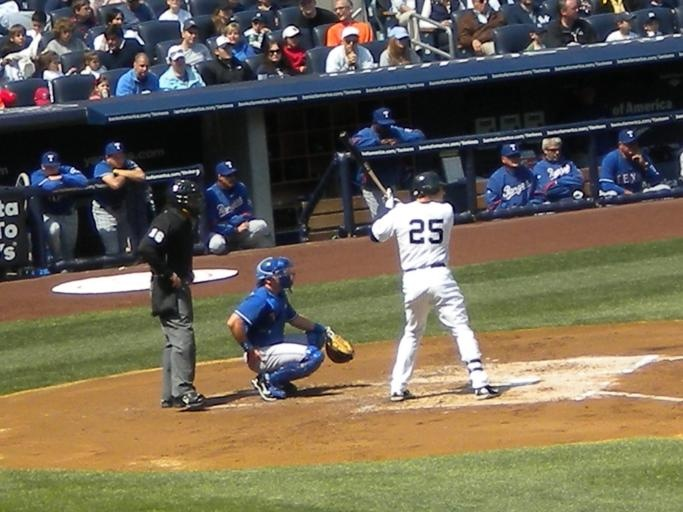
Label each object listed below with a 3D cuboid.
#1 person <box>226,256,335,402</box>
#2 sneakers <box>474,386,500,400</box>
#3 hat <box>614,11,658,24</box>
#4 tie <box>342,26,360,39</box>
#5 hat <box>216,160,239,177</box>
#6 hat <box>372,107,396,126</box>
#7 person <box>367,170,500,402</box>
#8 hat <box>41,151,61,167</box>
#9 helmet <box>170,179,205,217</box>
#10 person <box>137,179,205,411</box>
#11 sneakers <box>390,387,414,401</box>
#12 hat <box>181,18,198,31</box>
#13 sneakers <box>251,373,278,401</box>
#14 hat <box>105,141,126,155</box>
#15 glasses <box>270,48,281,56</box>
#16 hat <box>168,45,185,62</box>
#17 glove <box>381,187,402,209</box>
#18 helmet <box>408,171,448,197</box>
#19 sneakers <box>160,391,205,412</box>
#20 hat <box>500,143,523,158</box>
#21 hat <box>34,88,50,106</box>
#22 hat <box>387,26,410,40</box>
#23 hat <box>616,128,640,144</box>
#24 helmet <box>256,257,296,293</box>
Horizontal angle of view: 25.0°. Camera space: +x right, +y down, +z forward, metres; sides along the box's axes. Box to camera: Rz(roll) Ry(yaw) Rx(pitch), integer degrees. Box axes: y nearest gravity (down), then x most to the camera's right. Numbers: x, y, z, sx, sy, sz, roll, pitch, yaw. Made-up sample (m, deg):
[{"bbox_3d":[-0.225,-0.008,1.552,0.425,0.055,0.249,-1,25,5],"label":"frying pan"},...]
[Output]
[{"bbox_3d":[-0.727,0.820,17.328,1.179,1.616,0.490,-5,4,-13],"label":"person"},{"bbox_3d":[1.540,1.476,16.717,0.226,0.103,0.171,2,-3,-41],"label":"sneakers"},{"bbox_3d":[4.615,-3.849,24.921,0.587,0.158,0.348,-4,-1,41],"label":"hat"},{"bbox_3d":[0.090,-3.392,23.347,0.211,0.121,0.254,-2,10,-1],"label":"tie"},{"bbox_3d":[-1.685,-1.252,21.941,0.328,0.174,0.219,-1,11,22],"label":"hat"},{"bbox_3d":[0.560,-2.059,22.563,0.242,0.181,0.354,-5,15,-31],"label":"hat"},{"bbox_3d":[0.930,0.333,16.744,1.161,2.478,0.421,-4,4,3],"label":"person"},{"bbox_3d":[-4.101,-1.364,21.737,0.189,0.138,0.260,-1,5,-18],"label":"hat"},{"bbox_3d":[-1.741,-0.651,17.190,0.436,0.379,0.353,-3,9,-19],"label":"helmet"},{"bbox_3d":[-1.849,0.433,17.267,0.702,2.557,0.562,-5,4,-2],"label":"person"},{"bbox_3d":[0.621,1.513,16.902,0.186,0.077,0.233,-2,0,5],"label":"sneakers"},{"bbox_3d":[-2.318,-3.518,23.487,0.212,0.184,0.298,7,-10,-17],"label":"hat"},{"bbox_3d":[-0.906,1.487,17.563,0.216,0.332,0.154,-42,1,-7],"label":"sneakers"},{"bbox_3d":[-3.224,-1.504,21.707,0.269,0.134,0.201,-6,6,44],"label":"hat"},{"bbox_3d":[-1.045,-3.087,23.375,0.117,0.111,0.040,0,50,-2],"label":"glasses"},{"bbox_3d":[-2.433,-3.008,22.776,0.239,0.190,0.350,-2,-2,-19],"label":"hat"},{"bbox_3d":[0.517,-0.643,17.373,0.098,0.266,0.198,-43,3,7],"label":"glove"},{"bbox_3d":[0.943,-0.788,16.893,0.378,0.199,0.273,-17,25,-39],"label":"helmet"},{"bbox_3d":[-1.856,1.625,17.276,0.583,0.220,0.192,3,5,29],"label":"sneakers"},{"bbox_3d":[2.406,-1.548,22.516,0.252,0.208,0.280,-4,3,0],"label":"hat"},{"bbox_3d":[-4.403,-2.356,22.692,0.211,0.280,0.385,-5,4,-10],"label":"hat"},{"bbox_3d":[0.807,-3.427,23.691,0.235,0.128,0.313,-2,7,-24],"label":"hat"},{"bbox_3d":[4.158,-1.769,22.741,0.204,0.133,0.256,-5,2,-31],"label":"hat"},{"bbox_3d":[-0.774,0.192,17.338,0.444,0.334,0.338,-5,6,-6],"label":"helmet"}]
